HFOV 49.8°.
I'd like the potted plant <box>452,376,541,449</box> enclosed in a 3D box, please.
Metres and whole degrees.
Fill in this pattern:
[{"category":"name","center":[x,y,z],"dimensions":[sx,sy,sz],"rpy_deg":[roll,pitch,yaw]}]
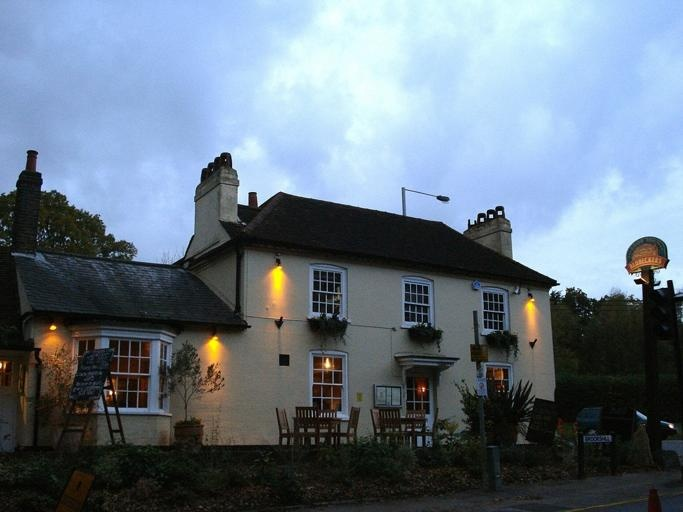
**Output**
[{"category":"potted plant","center":[4.800,4.661,22.273],"dimensions":[2.054,1.877,4.000],"rpy_deg":[0,-4,15]}]

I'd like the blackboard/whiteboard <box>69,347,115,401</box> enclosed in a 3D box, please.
[{"category":"blackboard/whiteboard","center":[-6.309,3.014,18.590],"dimensions":[0.117,1.305,1.408],"rpy_deg":[24,-24,-38]}]
